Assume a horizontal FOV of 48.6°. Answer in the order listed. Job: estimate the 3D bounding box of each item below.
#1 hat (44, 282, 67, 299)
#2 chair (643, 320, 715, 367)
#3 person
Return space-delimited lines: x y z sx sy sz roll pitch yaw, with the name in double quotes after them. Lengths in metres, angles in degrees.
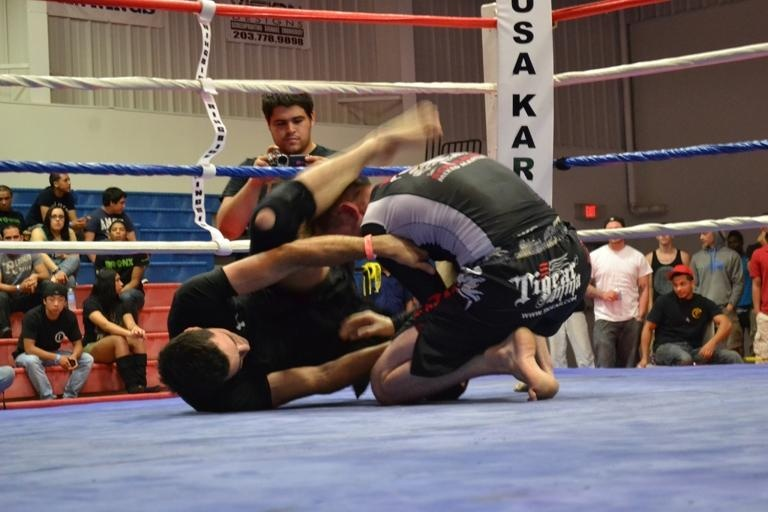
-2.183 0.230 5.690 0.141 0.084 0.138 7 -14 -33 "hat"
1.848 0.542 5.276 0.209 0.345 0.276 -2 10 -20 "chair"
0.079 0.100 3.276 1.820 1.315 0.853 -4 -15 5 "person"
